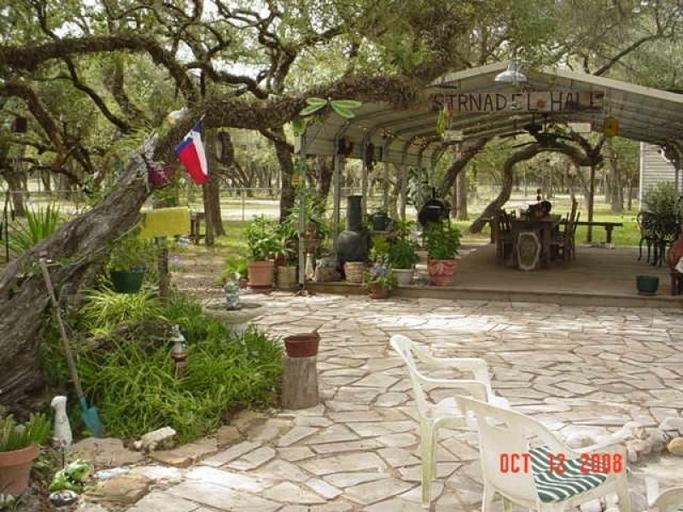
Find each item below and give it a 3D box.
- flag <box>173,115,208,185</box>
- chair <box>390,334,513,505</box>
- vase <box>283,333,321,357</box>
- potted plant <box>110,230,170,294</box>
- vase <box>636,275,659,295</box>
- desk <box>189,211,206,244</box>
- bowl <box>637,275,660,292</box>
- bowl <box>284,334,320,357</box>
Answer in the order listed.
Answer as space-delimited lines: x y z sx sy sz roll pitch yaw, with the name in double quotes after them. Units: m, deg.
-1.805 -1.271 7.358 0.363 0.837 0.936 -1 3 -14 "flag"
0.963 1.396 5.910 1.355 1.774 1.319 -2 3 8 "chair"
-0.427 0.992 6.913 0.268 0.142 0.315 -1 -1 37 "vase"
-2.858 0.070 8.581 0.824 0.977 0.875 -1 7 -15 "potted plant"
5.801 0.544 11.678 0.331 0.283 0.388 0 -3 7 "vase"
-5.178 -1.048 21.903 0.463 1.123 3.526 -1 3 -13 "desk"
5.797 0.512 11.631 0.322 0.264 0.350 0 -1 0 "bowl"
-0.461 0.999 6.969 0.381 0.249 0.291 0 3 -12 "bowl"
